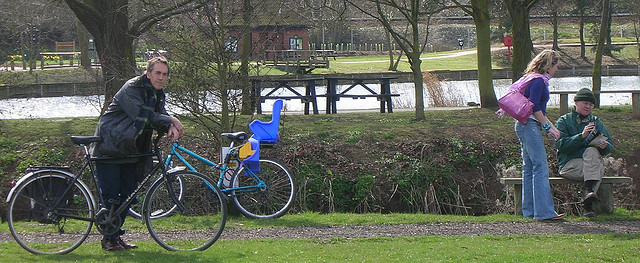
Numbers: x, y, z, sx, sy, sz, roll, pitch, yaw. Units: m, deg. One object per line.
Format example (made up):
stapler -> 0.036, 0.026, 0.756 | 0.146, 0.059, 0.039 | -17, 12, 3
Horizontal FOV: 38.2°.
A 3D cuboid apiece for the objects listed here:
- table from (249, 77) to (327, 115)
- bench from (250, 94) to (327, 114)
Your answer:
table -> -3.147, -3.190, 85.705 | 7.522, 2.618, 3.303 | -1, -7, -2
bench -> -3.088, -2.675, 84.767 | 7.318, 1.586, 2.145 | 1, -3, -13
